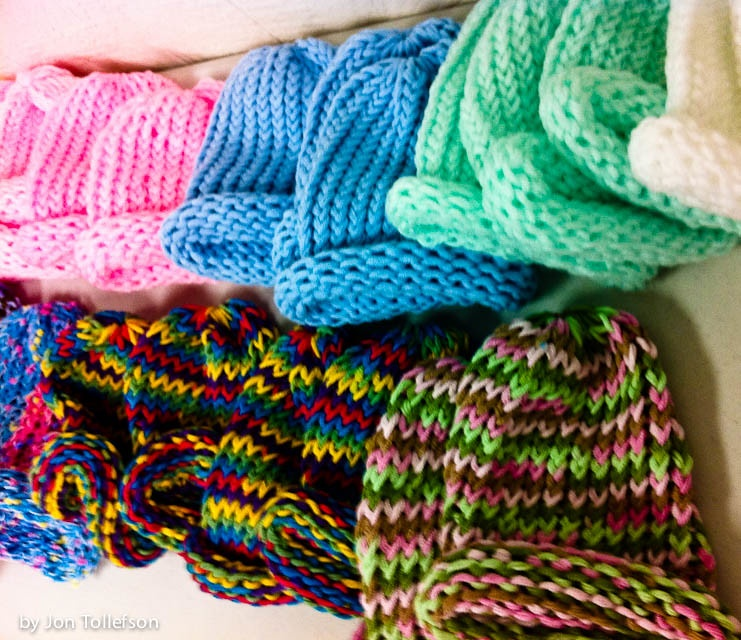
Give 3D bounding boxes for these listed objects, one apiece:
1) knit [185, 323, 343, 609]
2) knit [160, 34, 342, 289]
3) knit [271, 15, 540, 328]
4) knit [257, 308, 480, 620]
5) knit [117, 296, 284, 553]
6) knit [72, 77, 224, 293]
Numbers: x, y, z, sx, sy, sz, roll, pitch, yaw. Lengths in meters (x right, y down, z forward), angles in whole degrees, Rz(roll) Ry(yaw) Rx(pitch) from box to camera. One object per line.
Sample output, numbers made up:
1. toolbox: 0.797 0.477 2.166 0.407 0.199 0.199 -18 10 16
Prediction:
1. knit: -0.093 0.163 0.982 0.178 0.095 0.282 12 83 10
2. knit: -0.135 -0.178 1.026 0.179 0.103 0.289 9 84 -24
3. knit: 0.014 -0.154 0.989 0.248 0.108 0.320 5 91 27
4. knit: -0.044 0.131 0.982 0.212 0.074 0.321 0 83 13
5. knit: -0.198 0.136 1.118 0.179 0.087 0.284 3 70 14
6. knit: -0.266 -0.156 1.115 0.174 0.077 0.233 1 88 22
